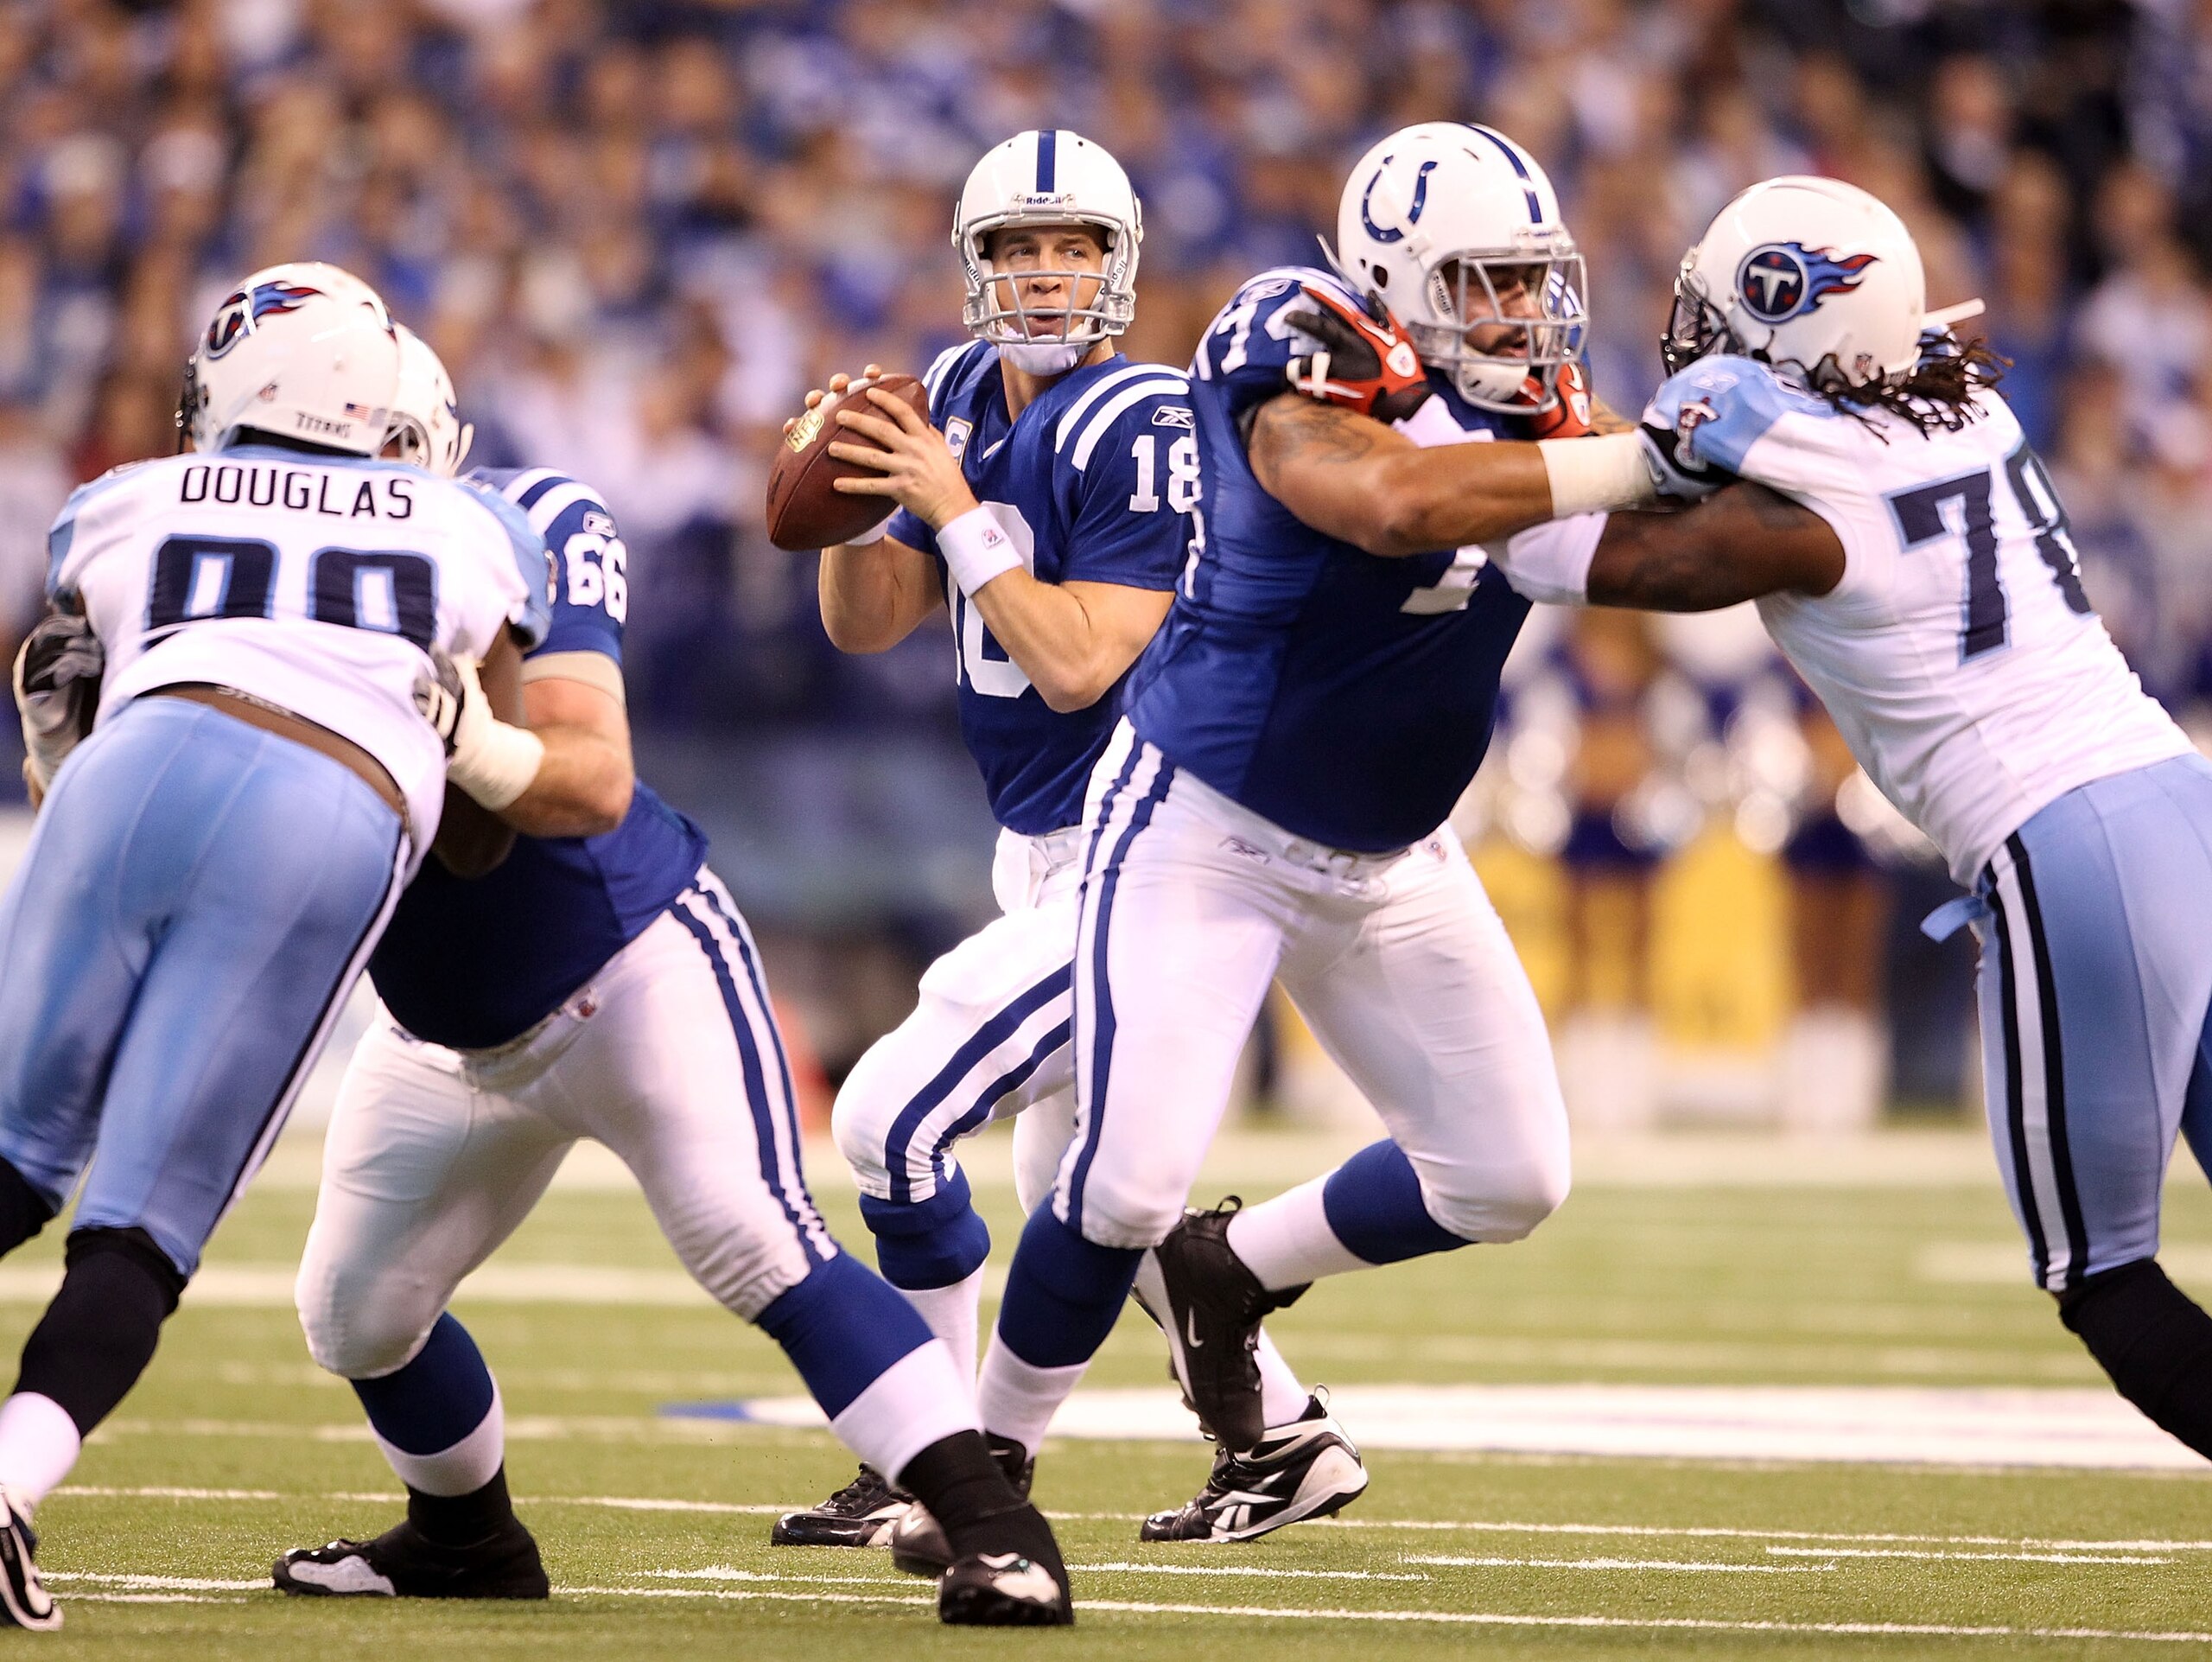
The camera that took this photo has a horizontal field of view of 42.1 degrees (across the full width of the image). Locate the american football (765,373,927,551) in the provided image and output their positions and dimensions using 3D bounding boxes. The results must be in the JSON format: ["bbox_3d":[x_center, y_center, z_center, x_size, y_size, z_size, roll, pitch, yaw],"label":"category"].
[{"bbox_3d":[-0.491,-0.594,4.977,0.319,0.198,0.225,-32,-19,-7],"label":"american football"}]

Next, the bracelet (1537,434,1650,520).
[{"bbox_3d":[0.717,-0.490,4.196,0.136,0.117,0.136,7,-24,-10],"label":"bracelet"}]

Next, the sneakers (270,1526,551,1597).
[{"bbox_3d":[-1.005,1.072,4.226,0.393,0.145,0.153,5,-13,3],"label":"sneakers"}]

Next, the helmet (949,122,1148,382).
[{"bbox_3d":[-0.105,-1.057,5.267,0.354,0.422,0.431,0,-1,-1],"label":"helmet"}]

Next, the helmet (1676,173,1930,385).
[{"bbox_3d":[1.134,-0.861,4.517,0.382,0.324,0.300,17,18,31],"label":"helmet"}]

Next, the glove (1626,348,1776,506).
[{"bbox_3d":[0.898,-0.605,4.273,0.193,0.199,0.151,-11,26,36],"label":"glove"}]

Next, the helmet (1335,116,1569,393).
[{"bbox_3d":[0.613,-0.926,4.648,0.426,0.438,0.347,15,18,34],"label":"helmet"}]

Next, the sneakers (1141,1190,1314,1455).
[{"bbox_3d":[0.200,0.864,4.983,0.206,0.498,0.151,-17,-5,27],"label":"sneakers"}]

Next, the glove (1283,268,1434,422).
[{"bbox_3d":[0.381,-0.718,4.436,0.180,0.243,0.110,-37,-8,-9],"label":"glove"}]

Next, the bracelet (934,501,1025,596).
[{"bbox_3d":[-0.208,-0.485,4.849,0.130,0.135,0.135,-7,-39,-32],"label":"bracelet"}]

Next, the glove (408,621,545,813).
[{"bbox_3d":[-0.836,-0.157,3.869,0.088,0.221,0.165,-8,19,9],"label":"glove"}]
